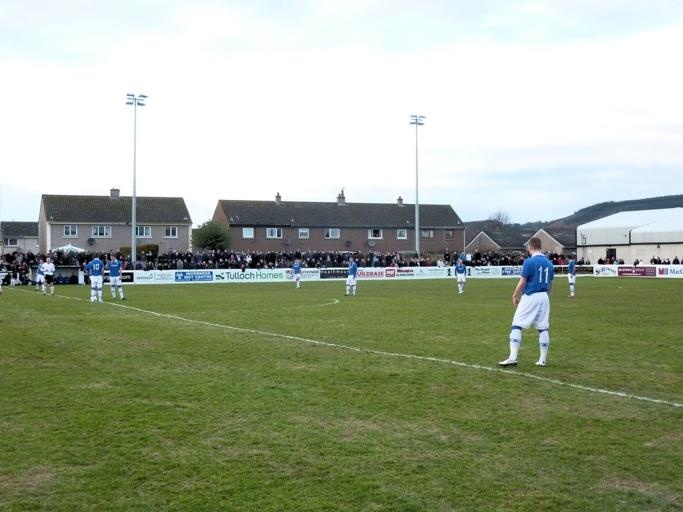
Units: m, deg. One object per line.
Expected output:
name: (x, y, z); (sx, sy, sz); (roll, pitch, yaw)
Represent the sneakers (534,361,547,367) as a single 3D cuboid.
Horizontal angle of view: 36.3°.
sneakers: (3.959, 2.104, 20.698); (0.200, 0.103, 0.303); (0, 0, 7)
